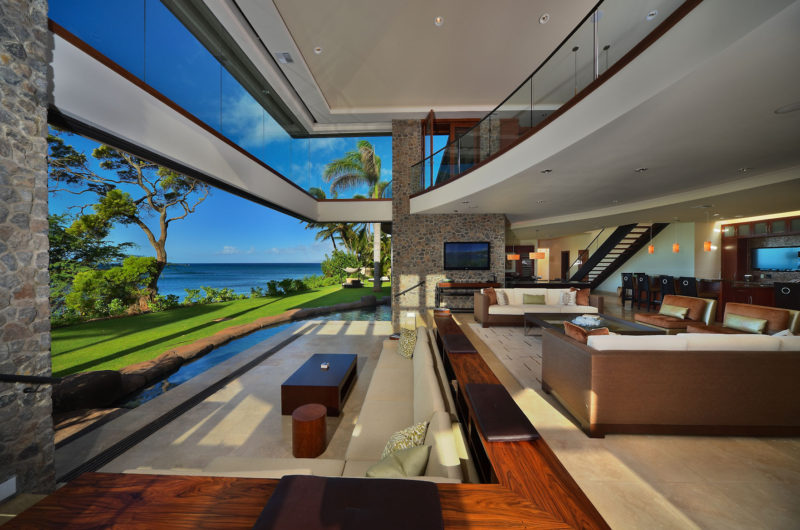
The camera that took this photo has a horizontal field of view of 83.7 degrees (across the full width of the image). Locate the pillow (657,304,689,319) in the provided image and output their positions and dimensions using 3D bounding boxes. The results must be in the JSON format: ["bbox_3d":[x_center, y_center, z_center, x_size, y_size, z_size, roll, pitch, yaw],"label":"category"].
[{"bbox_3d":[5.401,0.931,8.874,0.194,0.200,0.484,15,-1,-28],"label":"pillow"}]

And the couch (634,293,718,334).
[{"bbox_3d":[5.340,0.980,8.902,1.362,0.584,1.392,1,5,39],"label":"couch"}]

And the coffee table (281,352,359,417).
[{"bbox_3d":[-1.331,2.141,7.180,0.748,0.354,1.379,1,4,7],"label":"coffee table"}]

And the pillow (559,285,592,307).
[{"bbox_3d":[4.069,0.747,10.534,0.492,0.440,0.145,5,-10,8],"label":"pillow"}]

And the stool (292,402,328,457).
[{"bbox_3d":[-1.279,2.480,6.478,0.473,0.493,0.456,8,-19,-38],"label":"stool"}]

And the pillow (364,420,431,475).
[{"bbox_3d":[-0.002,2.144,5.249,0.702,0.411,0.461,-2,-1,1],"label":"pillow"}]

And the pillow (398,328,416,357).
[{"bbox_3d":[0.135,1.353,7.624,0.293,0.335,0.724,-2,-1,1],"label":"pillow"}]
